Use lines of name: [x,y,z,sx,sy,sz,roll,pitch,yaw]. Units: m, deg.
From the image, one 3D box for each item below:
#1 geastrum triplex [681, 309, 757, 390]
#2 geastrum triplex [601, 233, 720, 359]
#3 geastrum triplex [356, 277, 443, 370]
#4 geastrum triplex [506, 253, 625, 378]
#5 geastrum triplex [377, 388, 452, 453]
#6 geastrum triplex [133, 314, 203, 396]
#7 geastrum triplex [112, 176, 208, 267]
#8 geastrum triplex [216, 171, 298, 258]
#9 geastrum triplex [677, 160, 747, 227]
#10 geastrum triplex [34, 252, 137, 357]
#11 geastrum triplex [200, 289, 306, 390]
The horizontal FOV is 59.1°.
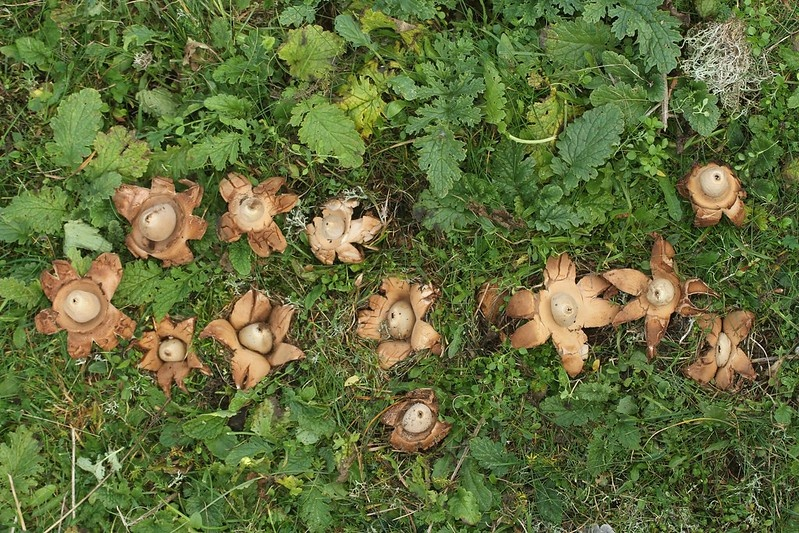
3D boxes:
geastrum triplex: [2.138,0.533,4.772,0.481,0.133,0.505,32,91,0]
geastrum triplex: [1.692,0.152,4.707,0.672,0.287,0.743,45,104,1]
geastrum triplex: [-0.023,0.305,4.666,0.621,0.259,0.662,4,88,-38]
geastrum triplex: [1.087,0.317,4.694,0.765,0.279,0.740,42,83,-2]
geastrum triplex: [0.108,0.998,4.589,0.445,0.171,0.449,29,61,19]
geastrum triplex: [-1.512,0.587,4.664,0.438,0.206,0.476,-20,70,-3]
geastrum triplex: [-1.524,-0.299,4.596,0.567,0.298,0.512,-14,70,-1]
geastrum triplex: [-0.921,-0.340,4.639,0.518,0.305,0.509,3,71,5]
geastrum triplex: [2.044,-0.481,4.567,0.420,0.214,0.369,-2,70,3]
geastrum triplex: [-2.056,0.265,4.586,0.588,0.336,0.579,-9,70,1]
geastrum triplex: [-0.954,0.451,4.635,0.628,0.275,0.670,43,78,-10]
